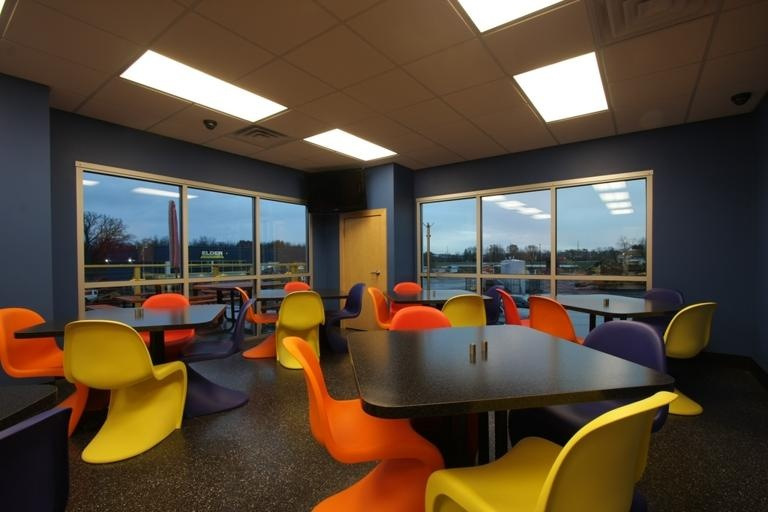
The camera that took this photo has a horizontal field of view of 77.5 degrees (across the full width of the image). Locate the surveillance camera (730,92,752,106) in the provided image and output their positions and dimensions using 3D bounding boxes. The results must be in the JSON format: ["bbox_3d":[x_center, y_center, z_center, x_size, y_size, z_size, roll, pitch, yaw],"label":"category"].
[{"bbox_3d":[4.436,-1.933,5.937,0.216,0.141,0.356,-2,0,39],"label":"surveillance camera"}]

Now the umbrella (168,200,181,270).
[{"bbox_3d":[-3.142,-0.288,7.159,0.169,1.080,0.063,-1,0,-25],"label":"umbrella"}]
